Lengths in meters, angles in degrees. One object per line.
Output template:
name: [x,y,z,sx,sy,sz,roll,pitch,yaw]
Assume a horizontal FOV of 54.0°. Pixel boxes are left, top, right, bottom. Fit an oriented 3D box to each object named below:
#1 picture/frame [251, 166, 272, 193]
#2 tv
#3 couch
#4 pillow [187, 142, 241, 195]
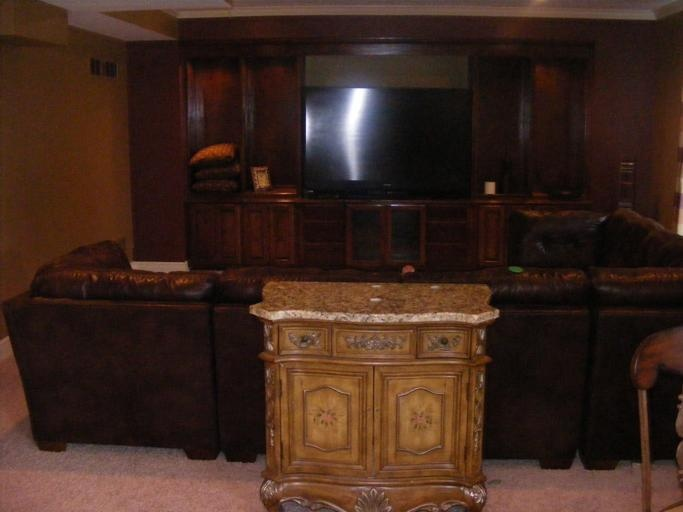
picture/frame: [-0.889,-0.836,7.351,0.308,0.334,0.048,-10,-9,-40]
tv: [0.523,-1.280,7.524,1.918,1.212,0.175,-1,8,-6]
couch: [-0.499,0.529,4.299,2.556,0.737,1.737,0,11,4]
pillow: [-1.379,-0.916,7.167,0.554,0.525,0.512,1,2,2]
